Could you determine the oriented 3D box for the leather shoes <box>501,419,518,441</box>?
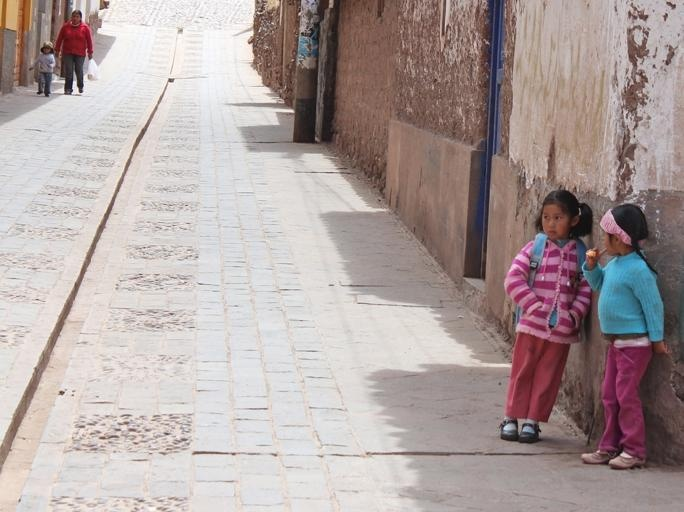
[{"bbox_3d":[1.051,1.093,5.167,0.071,0.061,0.170,1,6,0],"label":"leather shoes"}]

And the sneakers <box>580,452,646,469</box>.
[{"bbox_3d":[1.545,1.175,4.738,0.297,0.096,0.113,5,0,9],"label":"sneakers"}]

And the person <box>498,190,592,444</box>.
[{"bbox_3d":[1.287,0.368,5.151,0.539,1.551,0.494,4,15,6],"label":"person"}]

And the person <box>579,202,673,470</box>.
[{"bbox_3d":[1.607,0.471,4.669,0.349,1.502,0.432,-3,16,-18],"label":"person"}]
